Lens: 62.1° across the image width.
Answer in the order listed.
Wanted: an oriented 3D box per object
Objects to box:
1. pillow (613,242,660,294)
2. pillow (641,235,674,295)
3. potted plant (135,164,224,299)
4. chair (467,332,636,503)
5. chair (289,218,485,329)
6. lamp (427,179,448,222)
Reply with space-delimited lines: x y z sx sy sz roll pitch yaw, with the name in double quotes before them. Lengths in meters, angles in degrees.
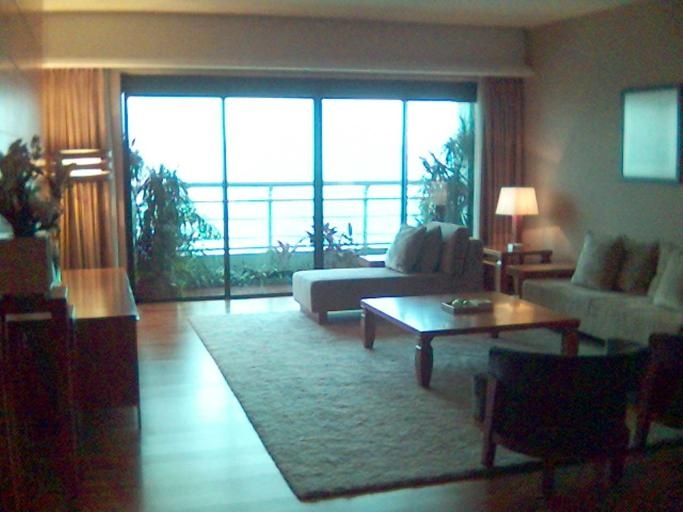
"pillow" 1.599 0.073 3.082 0.086 0.301 0.290 5 7 21
"pillow" 1.249 0.039 2.244 0.068 0.233 0.227 14 8 29
"potted plant" -1.699 -0.296 6.779 1.093 2.185 1.093 -3 7 -12
"chair" 0.540 0.396 1.537 0.361 0.389 0.487 -1 7 -11
"chair" 0.423 0.110 5.170 1.460 0.798 0.850 -1 3 -17
"lamp" 1.066 -0.612 6.242 0.219 0.452 0.158 0 6 1
